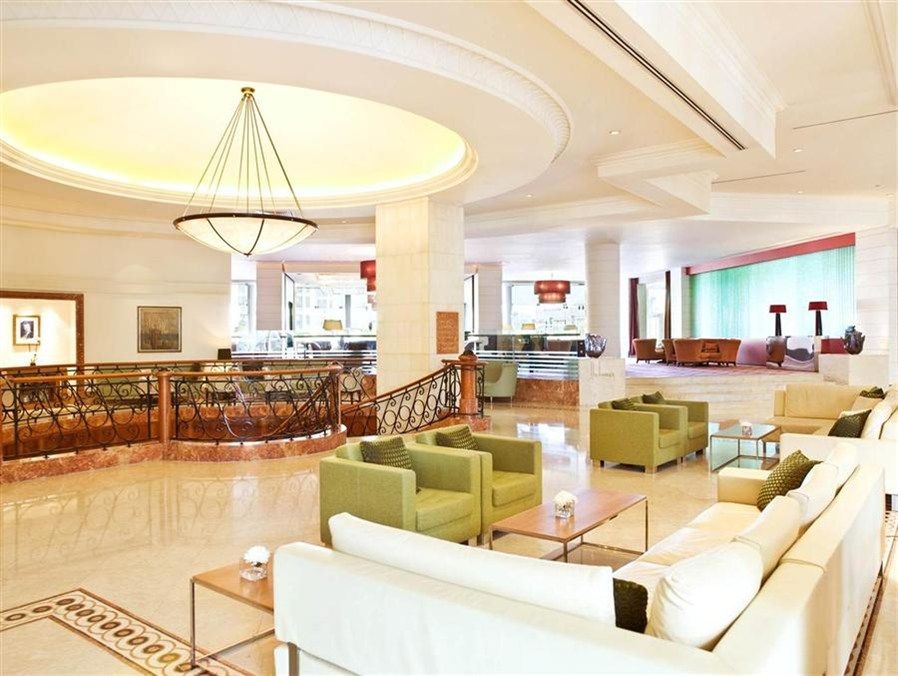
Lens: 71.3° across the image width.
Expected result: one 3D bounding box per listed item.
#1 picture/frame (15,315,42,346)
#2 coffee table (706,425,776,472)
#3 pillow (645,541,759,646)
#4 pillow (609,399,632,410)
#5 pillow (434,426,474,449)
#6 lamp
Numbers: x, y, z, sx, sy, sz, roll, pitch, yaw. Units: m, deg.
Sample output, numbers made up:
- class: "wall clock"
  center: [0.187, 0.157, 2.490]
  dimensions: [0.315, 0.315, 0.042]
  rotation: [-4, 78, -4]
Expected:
- class: "picture/frame"
  center: [-7.536, -0.127, 11.175]
  dimensions: [0.087, 0.535, 0.446]
  rotation: [2, 6, 20]
- class: "coffee table"
  center: [3.882, 1.425, 8.436]
  dimensions: [0.582, 0.490, 1.100]
  rotation: [3, 3, 36]
- class: "pillow"
  center: [1.259, 1.261, 3.089]
  dimensions: [0.170, 0.222, 0.538]
  rotation: [9, 9, 38]
- class: "pillow"
  center: [2.295, 0.875, 8.335]
  dimensions: [0.170, 0.056, 0.197]
  rotation: [4, 3, 41]
- class: "pillow"
  center: [0.058, 0.990, 6.312]
  dimensions: [0.262, 0.076, 0.260]
  rotation: [5, 18, -22]
- class: "lamp"
  center: [-2.960, -2.132, 9.054]
  dimensions: [1.603, 1.946, 4.199]
  rotation: [-2, 6, -18]
